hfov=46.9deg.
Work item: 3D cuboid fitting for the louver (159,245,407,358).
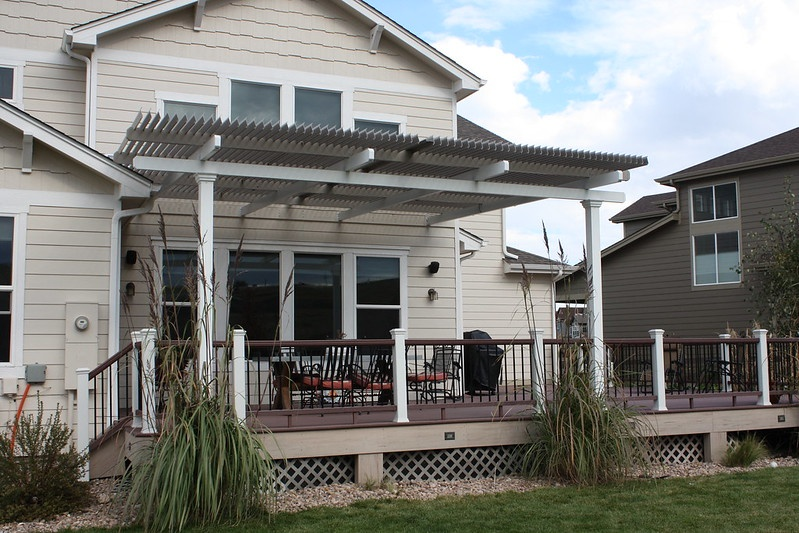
[{"bbox_3d":[-2.080,0.774,16.782,4.720,2.441,0.311,1,15,-7],"label":"louver"}]

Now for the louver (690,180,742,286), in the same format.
[{"bbox_3d":[8.431,-0.783,24.595,1.452,2.819,0.109,-7,9,-8],"label":"louver"}]

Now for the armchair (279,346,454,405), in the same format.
[{"bbox_3d":[-0.615,1.825,15.443,3.112,1.124,2.431,6,-12,-33],"label":"armchair"}]
